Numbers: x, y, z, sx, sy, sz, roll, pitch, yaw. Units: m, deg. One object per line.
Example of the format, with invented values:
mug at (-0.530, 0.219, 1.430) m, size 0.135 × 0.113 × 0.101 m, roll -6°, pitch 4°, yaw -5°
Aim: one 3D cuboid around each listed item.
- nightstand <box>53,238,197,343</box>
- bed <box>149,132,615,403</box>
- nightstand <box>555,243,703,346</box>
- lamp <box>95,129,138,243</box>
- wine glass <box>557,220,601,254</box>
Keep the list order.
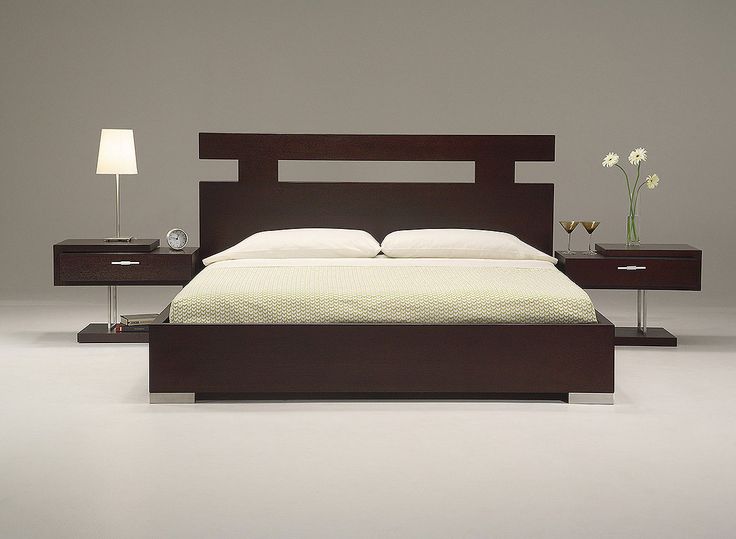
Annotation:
nightstand at (-1.498, 0.131, 3.951) m, size 0.785 × 0.560 × 0.426 m, roll 0°, pitch 5°, yaw -14°
bed at (0.130, -0.200, 3.597) m, size 1.936 × 1.139 × 1.741 m, roll 0°, pitch 1°, yaw 0°
nightstand at (1.580, 0.027, 3.858) m, size 1.018 × 0.680 × 0.601 m, roll 0°, pitch -1°, yaw 5°
lamp at (-1.726, -0.581, 4.338) m, size 0.223 × 0.779 × 1.110 m, roll -4°, pitch 10°, yaw -20°
wine glass at (1.601, -0.241, 4.717) m, size 0.354 × 0.242 × 0.215 m, roll 0°, pitch 3°, yaw 10°
